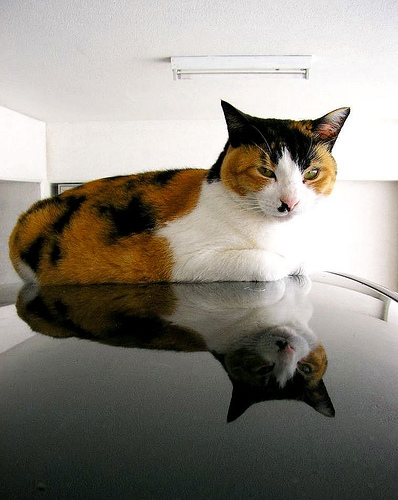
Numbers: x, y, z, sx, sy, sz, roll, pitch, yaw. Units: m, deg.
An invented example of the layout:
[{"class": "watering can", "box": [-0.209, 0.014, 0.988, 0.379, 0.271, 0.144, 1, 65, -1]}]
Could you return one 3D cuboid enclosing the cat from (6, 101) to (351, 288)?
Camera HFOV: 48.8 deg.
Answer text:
[{"class": "cat", "box": [-0.029, -0.070, 0.722, 0.468, 0.197, 0.272, -3, -3, 1]}]
